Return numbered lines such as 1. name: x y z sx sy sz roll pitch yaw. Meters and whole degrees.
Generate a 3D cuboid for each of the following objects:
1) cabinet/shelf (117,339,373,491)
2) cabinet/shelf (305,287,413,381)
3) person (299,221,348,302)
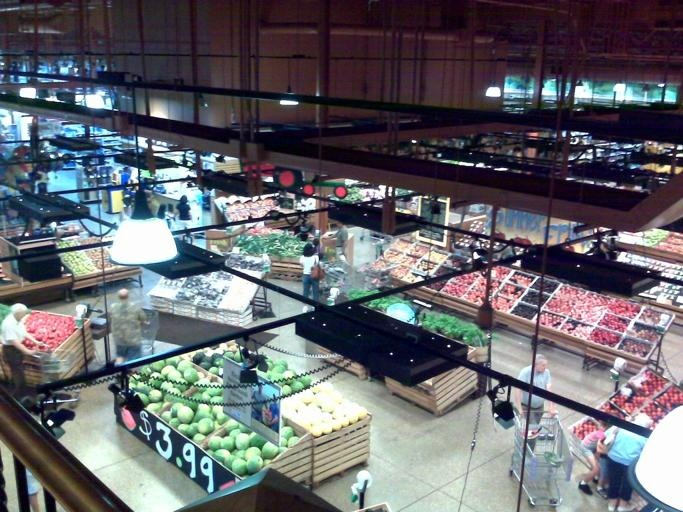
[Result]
1. cabinet/shelf: -1.345 2.037 7.123 2.765 1.265 1.964 17 25 42
2. cabinet/shelf: 0.212 0.605 3.898 1.001 0.161 0.655 18 23 34
3. person: -0.337 0.248 9.932 0.811 1.399 0.901 -10 17 -39
